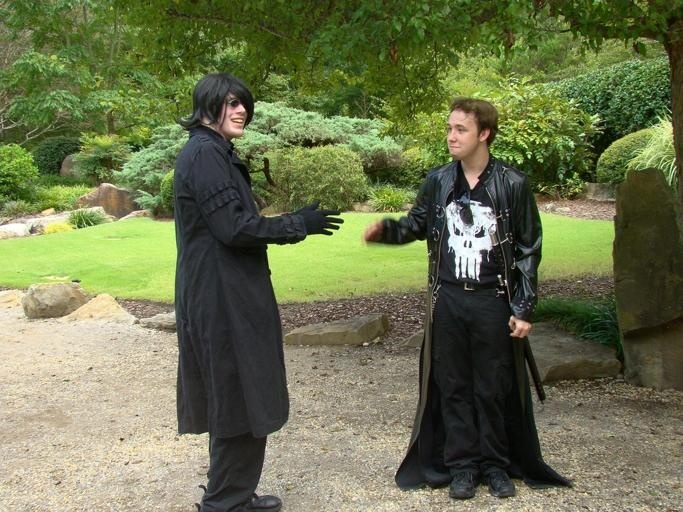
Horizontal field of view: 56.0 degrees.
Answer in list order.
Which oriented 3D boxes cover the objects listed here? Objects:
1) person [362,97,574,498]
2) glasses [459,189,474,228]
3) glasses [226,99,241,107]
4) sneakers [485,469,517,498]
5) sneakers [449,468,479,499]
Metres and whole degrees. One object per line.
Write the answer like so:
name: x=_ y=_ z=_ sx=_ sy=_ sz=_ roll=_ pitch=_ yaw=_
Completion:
person: x=0.856 y=0.251 z=4.248 sx=1.039 sy=2.541 sz=0.889 roll=-2 pitch=15 yaw=4
glasses: x=0.818 y=-0.308 z=4.258 sx=0.135 sy=0.190 sz=0.053 roll=4 pitch=3 yaw=37
glasses: x=-0.655 y=-0.925 z=3.849 sx=0.057 sy=0.023 sz=0.064 roll=-1 pitch=-1 yaw=-15
sneakers: x=1.043 y=1.477 z=4.203 sx=0.189 sy=0.137 sz=0.171 roll=-2 pitch=14 yaw=0
sneakers: x=0.780 y=1.488 z=4.134 sx=0.103 sy=0.105 sz=0.263 roll=-1 pitch=-8 yaw=6
